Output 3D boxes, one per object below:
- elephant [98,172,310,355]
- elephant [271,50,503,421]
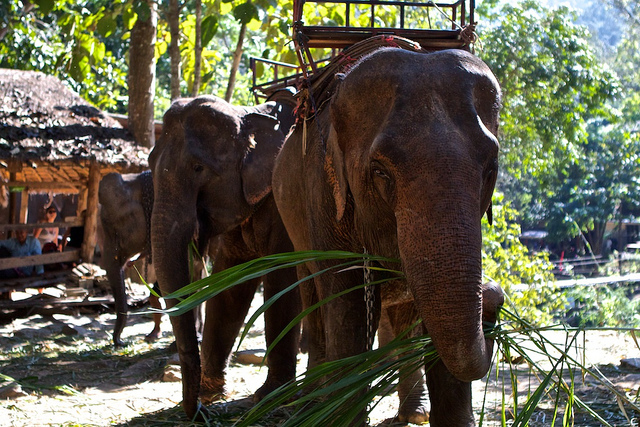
[{"bbox_3d":[-1.641,0.320,9.863,3.031,2.206,1.532,4,-10,-12],"label":"elephant"},{"bbox_3d":[0.656,0.192,6.693,1.685,3.008,1.051,3,-3,-4],"label":"elephant"}]
